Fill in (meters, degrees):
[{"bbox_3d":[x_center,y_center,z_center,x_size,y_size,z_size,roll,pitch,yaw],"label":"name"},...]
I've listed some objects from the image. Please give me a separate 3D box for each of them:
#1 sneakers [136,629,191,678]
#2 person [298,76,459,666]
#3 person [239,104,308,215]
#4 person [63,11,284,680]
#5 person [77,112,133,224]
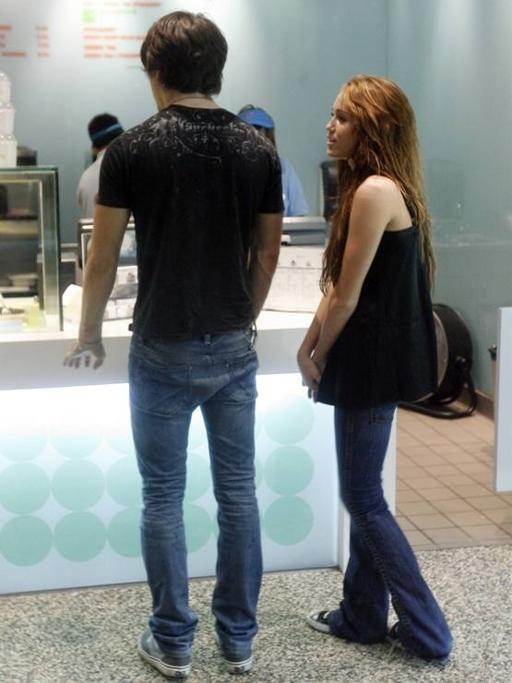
[{"bbox_3d":[-0.214,0.708,1.555,0.059,0.074,0.162,7,10,-28],"label":"sneakers"},{"bbox_3d":[0.258,0.095,1.543,0.319,1.302,0.326,-4,7,-33],"label":"person"},{"bbox_3d":[0.111,-0.949,4.064,0.403,0.856,0.232,3,17,33],"label":"person"},{"bbox_3d":[-0.148,0.066,1.401,0.418,1.390,0.300,-1,6,-17],"label":"person"},{"bbox_3d":[-0.829,-0.772,3.721,0.287,0.873,0.276,0,12,-18],"label":"person"}]
